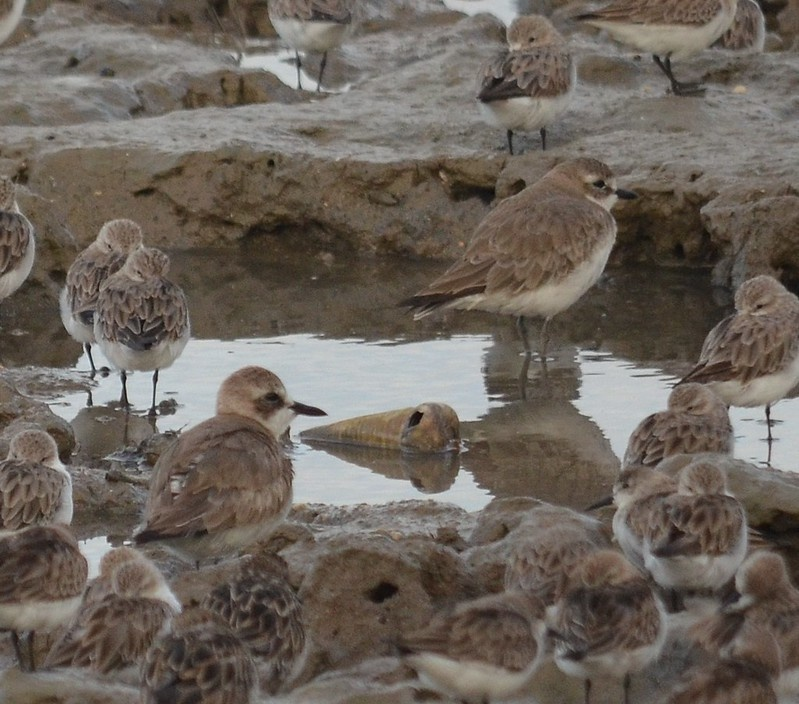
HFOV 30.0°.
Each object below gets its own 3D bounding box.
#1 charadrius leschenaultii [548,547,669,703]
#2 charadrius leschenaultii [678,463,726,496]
[{"bbox_3d":[1.191,1.618,8.993,0.696,0.868,0.856,3,-9,-20],"label":"charadrius leschenaultii"},{"bbox_3d":[1.868,0.775,9.143,0.292,0.191,0.224,4,8,10],"label":"charadrius leschenaultii"}]
